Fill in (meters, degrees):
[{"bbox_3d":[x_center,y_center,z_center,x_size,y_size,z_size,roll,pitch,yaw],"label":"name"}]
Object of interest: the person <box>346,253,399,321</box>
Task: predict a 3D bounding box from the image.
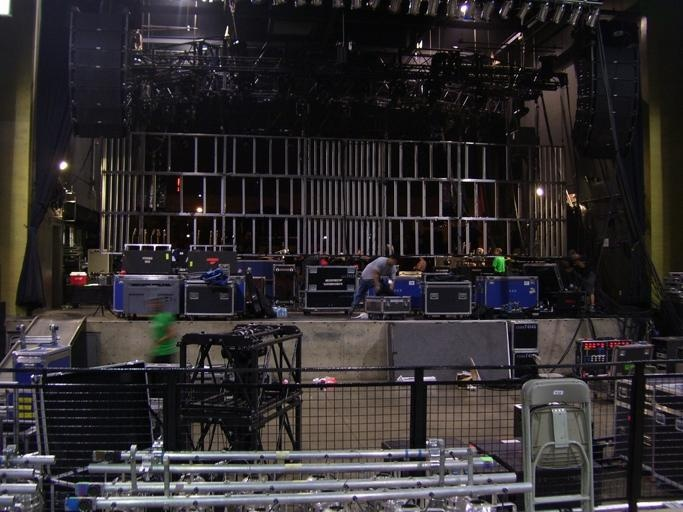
[{"bbox_3d":[0.860,0.650,33.237,1.092,1.803,0.570,7,21,3],"label":"person"}]
